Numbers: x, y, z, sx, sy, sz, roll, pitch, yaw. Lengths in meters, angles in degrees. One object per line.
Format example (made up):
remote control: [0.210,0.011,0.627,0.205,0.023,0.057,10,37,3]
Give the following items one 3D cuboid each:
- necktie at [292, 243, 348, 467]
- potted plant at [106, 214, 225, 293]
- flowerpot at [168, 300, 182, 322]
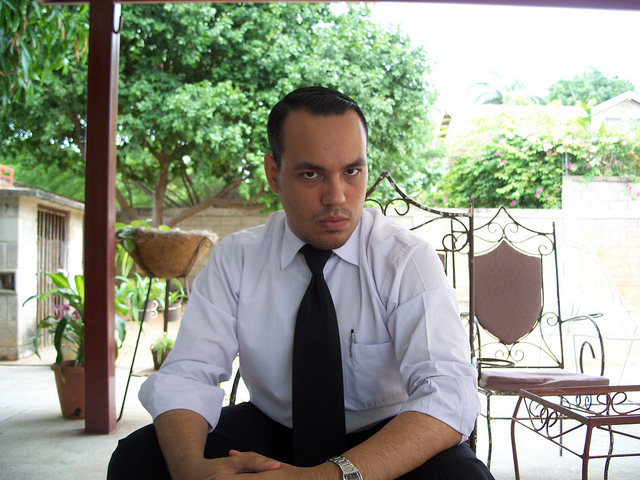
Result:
necktie: [-0.063,0.554,2.474,0.270,0.727,0.280,4,7,-13]
potted plant: [-1.226,0.100,4.401,0.760,0.348,0.819,3,0,42]
flowerpot: [-1.927,0.965,7.689,0.134,0.264,0.980,0,-1,-14]
